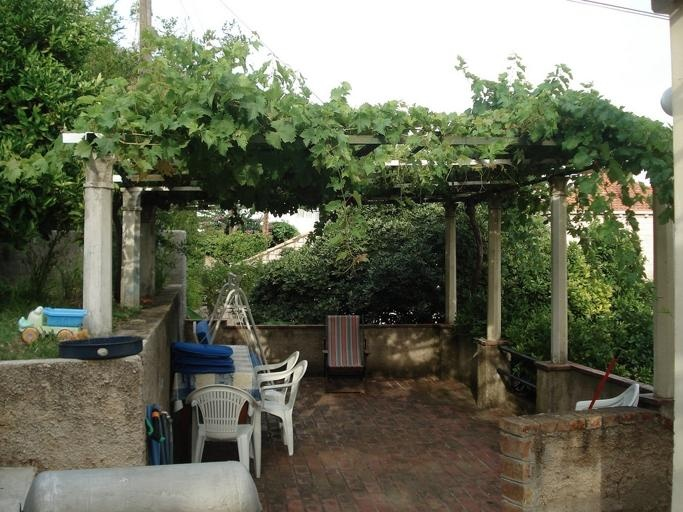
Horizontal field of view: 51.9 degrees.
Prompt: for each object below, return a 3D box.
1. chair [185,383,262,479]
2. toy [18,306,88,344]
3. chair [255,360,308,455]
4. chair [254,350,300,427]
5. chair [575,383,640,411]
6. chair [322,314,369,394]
[{"bbox_3d":[-1.136,1.703,6.889,0.660,0.997,0.625,-2,5,4],"label":"chair"},{"bbox_3d":[-2.522,0.600,6.156,0.563,0.302,0.332,3,-3,-6],"label":"toy"},{"bbox_3d":[-0.761,1.636,7.611,0.645,0.909,0.590,2,4,-10],"label":"chair"},{"bbox_3d":[-0.730,1.451,8.250,0.661,0.902,0.644,2,2,-6],"label":"chair"},{"bbox_3d":[2.425,1.296,6.392,0.453,0.187,0.376,-15,-7,3],"label":"chair"},{"bbox_3d":[0.069,1.455,10.574,0.697,1.028,1.123,0,7,2],"label":"chair"}]
